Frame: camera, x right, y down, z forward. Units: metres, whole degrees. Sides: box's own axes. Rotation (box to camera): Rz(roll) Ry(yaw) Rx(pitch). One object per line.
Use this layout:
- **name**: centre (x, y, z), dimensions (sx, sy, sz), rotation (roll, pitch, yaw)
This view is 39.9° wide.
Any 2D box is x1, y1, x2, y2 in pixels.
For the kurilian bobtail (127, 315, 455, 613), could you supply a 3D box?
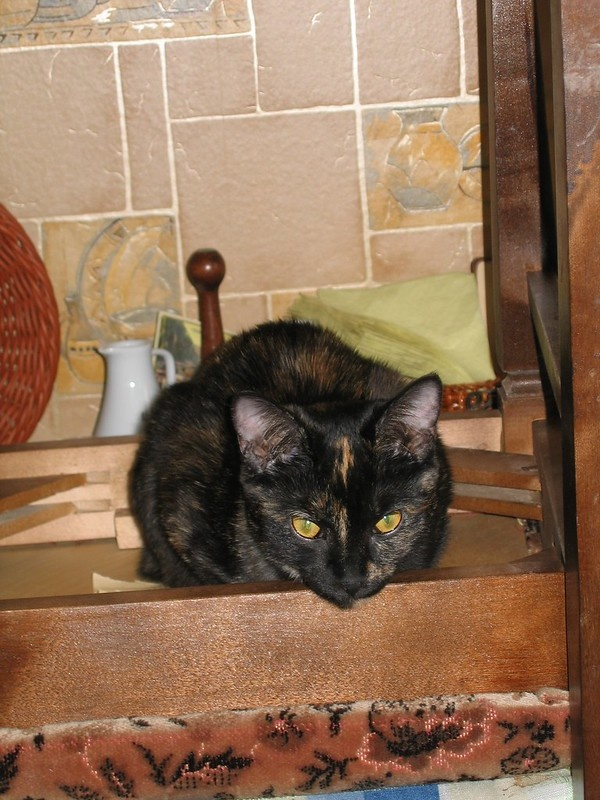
- **kurilian bobtail**: centre (-0.039, 0.081, 1.252), dimensions (0.409, 0.366, 0.511), rotation (-3, 35, -10)

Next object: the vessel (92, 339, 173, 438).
- **vessel**: centre (-0.381, -0.036, 1.903), dimensions (0.199, 0.199, 0.156), rotation (-12, 36, -35)

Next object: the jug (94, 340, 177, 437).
- **jug**: centre (-0.381, -0.026, 1.911), dimensions (0.216, 0.216, 0.171), rotation (-13, 30, -39)
